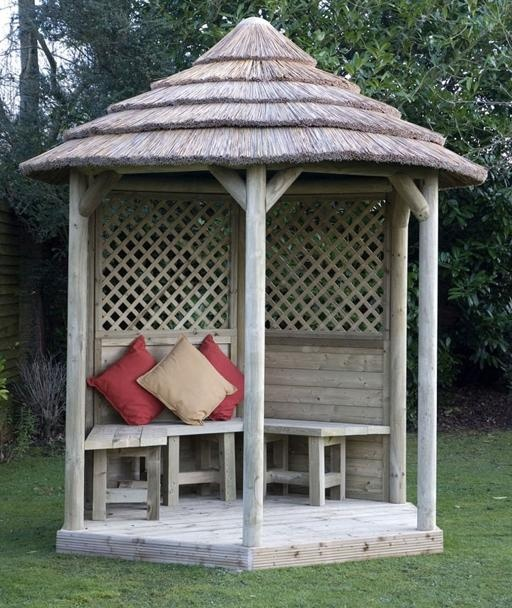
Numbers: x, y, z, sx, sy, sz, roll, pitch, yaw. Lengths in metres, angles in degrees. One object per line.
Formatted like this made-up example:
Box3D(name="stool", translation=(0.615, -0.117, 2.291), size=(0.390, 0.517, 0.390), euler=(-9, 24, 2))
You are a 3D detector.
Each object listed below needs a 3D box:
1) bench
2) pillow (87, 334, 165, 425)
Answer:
Box3D(name="bench", translation=(-0.275, 1.197, 6.072), size=(2.203, 0.699, 0.773), euler=(4, -10, -23))
Box3D(name="pillow", translation=(-0.977, 0.569, 6.165), size=(0.547, 0.692, 0.230), euler=(1, -10, -6))
